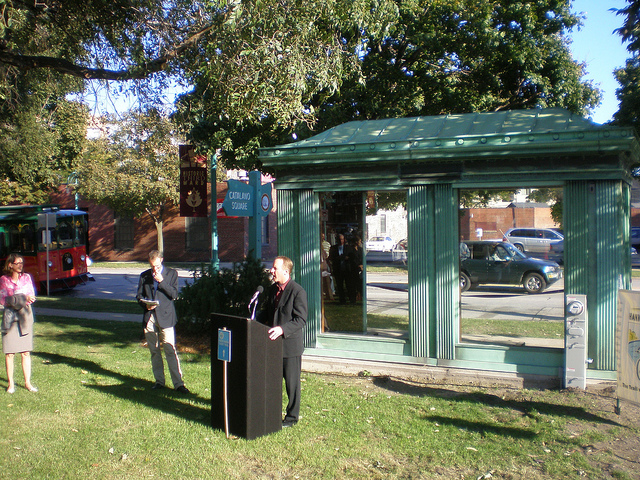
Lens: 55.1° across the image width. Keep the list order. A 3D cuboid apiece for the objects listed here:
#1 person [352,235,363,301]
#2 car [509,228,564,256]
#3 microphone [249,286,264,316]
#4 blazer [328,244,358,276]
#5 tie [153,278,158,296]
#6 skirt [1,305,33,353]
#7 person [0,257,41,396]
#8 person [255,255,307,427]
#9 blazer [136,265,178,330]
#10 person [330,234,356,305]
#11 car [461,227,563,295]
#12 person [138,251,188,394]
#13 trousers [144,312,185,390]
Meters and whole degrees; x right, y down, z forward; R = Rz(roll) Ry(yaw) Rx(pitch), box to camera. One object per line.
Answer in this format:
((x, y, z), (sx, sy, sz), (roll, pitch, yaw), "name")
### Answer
((0.773, 0.540, 12.480), (0.216, 1.285, 0.363), (1, 6, 3), "person")
((11.054, 0.092, 31.322), (2.525, 1.098, 1.217), (2, 1, 32), "car")
((-0.918, 0.801, 8.729), (0.102, 0.368, 0.109), (17, -25, 41), "microphone")
((0.486, 0.403, 12.664), (0.541, 0.635, 0.141), (-1, -9, -3), "blazer")
((-2.719, 0.759, 10.185), (0.032, 0.156, 0.116), (5, -1, -27), "tie")
((-4.967, 1.460, 10.118), (0.468, 0.753, 0.219), (-3, 8, -35), "skirt")
((-4.980, 1.372, 10.162), (0.497, 2.173, 0.671), (-2, 7, -29), "person")
((-0.518, 1.518, 9.269), (0.558, 2.542, 0.637), (-1, 7, -15), "person")
((-2.716, 1.004, 10.298), (0.640, 1.078, 0.435), (0, 7, -13), "blazer")
((0.487, 0.646, 12.658), (0.511, 1.619, 0.430), (-4, 12, 5), "person")
((6.539, 0.829, 22.024), (3.754, 2.483, 1.735), (-1, 4, 13), "car")
((-2.635, 1.346, 10.281), (0.785, 2.357, 0.472), (1, 6, -1), "person")
((-2.668, 1.731, 10.318), (0.565, 1.713, 0.398), (-3, 19, -14), "trousers")
